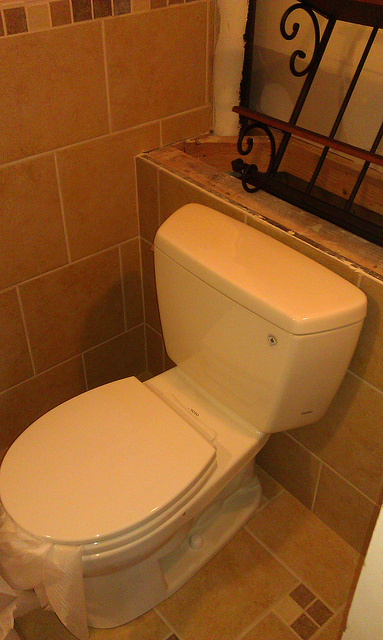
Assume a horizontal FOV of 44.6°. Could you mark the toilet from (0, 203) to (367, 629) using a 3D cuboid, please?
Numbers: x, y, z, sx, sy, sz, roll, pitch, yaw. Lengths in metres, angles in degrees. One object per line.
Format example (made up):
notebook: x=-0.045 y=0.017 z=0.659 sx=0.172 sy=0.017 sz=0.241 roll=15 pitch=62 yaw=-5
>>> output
toilet: x=-0.009 y=0.221 z=1.022 sx=0.631 sy=0.686 sz=0.410 roll=-34 pitch=59 yaw=-30
